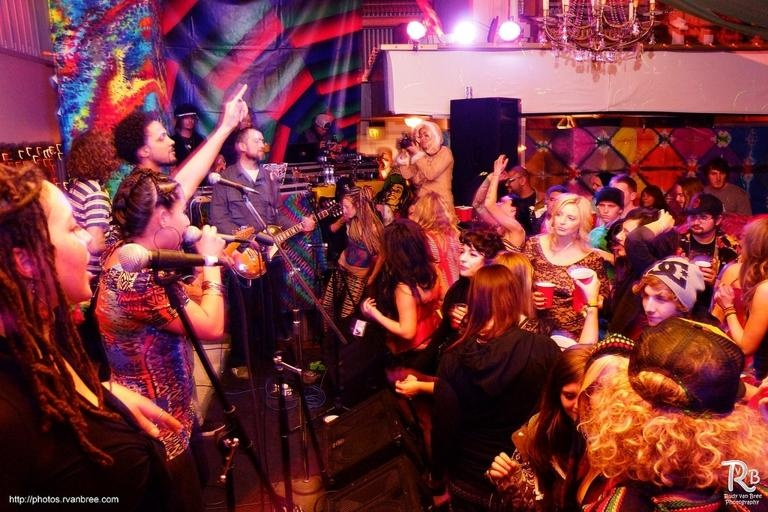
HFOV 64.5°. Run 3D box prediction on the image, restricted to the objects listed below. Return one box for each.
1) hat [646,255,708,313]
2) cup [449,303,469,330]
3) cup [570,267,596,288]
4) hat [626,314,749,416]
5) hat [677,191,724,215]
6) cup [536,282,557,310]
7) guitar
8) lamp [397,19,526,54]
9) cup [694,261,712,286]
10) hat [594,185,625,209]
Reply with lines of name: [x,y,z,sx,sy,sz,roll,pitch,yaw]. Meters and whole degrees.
hat: [1.617,0.120,3.347,0.332,0.303,0.251,17,4,-1]
cup: [0.456,0.370,3.791,0.088,0.152,0.117,14,11,42]
cup: [1.222,0.121,3.801,0.126,0.092,0.124,-4,14,1]
hat: [1.103,0.405,2.215,0.327,0.246,0.539,23,22,25]
hat: [2.382,-0.392,4.610,0.301,0.186,0.213,16,10,14]
cup: [1.094,0.264,4.079,0.159,0.156,0.161,-1,-7,0]
guitar: [-0.966,-0.089,5.261,1.258,0.506,0.145,-27,14,-32]
lamp: [0.892,-2.461,6.744,1.309,0.388,0.581,0,11,0]
cup: [1.991,0.110,3.799,0.134,0.167,0.167,1,9,24]
hat: [2.015,-0.545,5.468,0.209,0.151,0.214,16,-2,12]
